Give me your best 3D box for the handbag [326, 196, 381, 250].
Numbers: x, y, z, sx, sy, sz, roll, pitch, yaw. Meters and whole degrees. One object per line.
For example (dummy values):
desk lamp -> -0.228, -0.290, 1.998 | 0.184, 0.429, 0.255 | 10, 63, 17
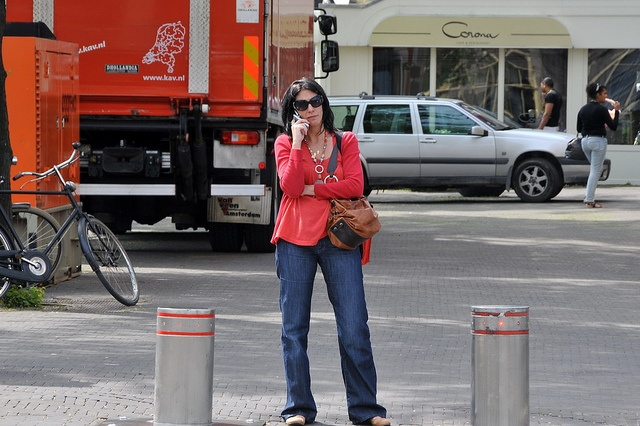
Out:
handbag -> 0.273, 0.075, 7.179 | 0.226, 0.471, 0.442 | -30, -22, 37

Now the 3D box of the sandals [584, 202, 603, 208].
sandals -> 5.653, -0.153, 19.141 | 0.377, 0.160, 0.141 | -1, 27, -45

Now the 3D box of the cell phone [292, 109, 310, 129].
cell phone -> -0.161, -0.725, 7.138 | 0.138, 0.111, 0.046 | 20, -17, 7
